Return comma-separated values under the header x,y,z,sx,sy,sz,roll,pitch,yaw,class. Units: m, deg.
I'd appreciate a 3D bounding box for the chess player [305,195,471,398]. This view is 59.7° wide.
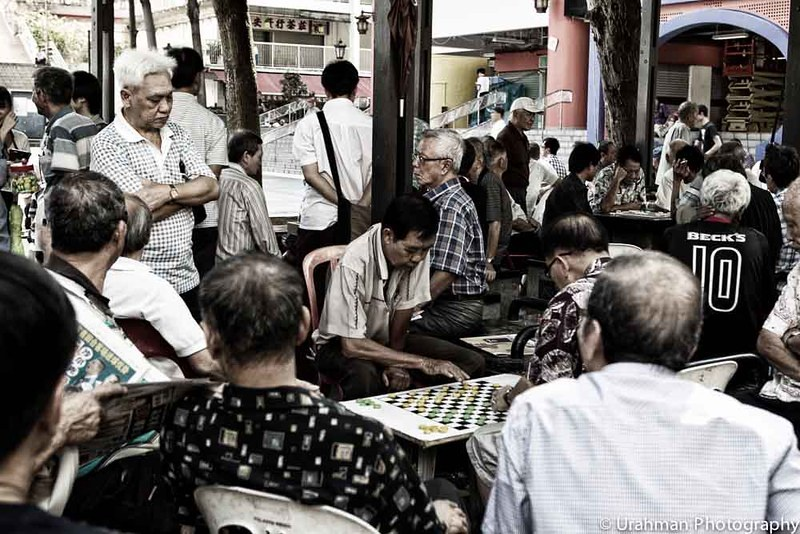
x,y,z,sx,sy,sz,roll,pitch,yaw,class
-0.040,0.429,4.609,1.054,1.767,0.949,5,14,12,chess player

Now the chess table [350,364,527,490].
x,y,z,sx,sy,sz,roll,pitch,yaw,class
0.199,0.781,3.730,0.965,0.228,0.612,-11,13,-42,chess table

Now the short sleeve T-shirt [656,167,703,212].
x,y,z,sx,sy,sz,roll,pitch,yaw,class
3.865,-1.125,9.577,0.593,0.311,0.771,-23,17,-29,short sleeve T-shirt

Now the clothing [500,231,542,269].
x,y,z,sx,sy,sz,roll,pitch,yaw,class
1.522,-0.188,8.513,0.604,0.139,0.391,1,61,-10,clothing

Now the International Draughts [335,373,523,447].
x,y,z,sx,sy,sz,roll,pitch,yaw,class
0.198,0.747,3.827,0.894,0.284,1.000,-4,-7,0,International Draughts
